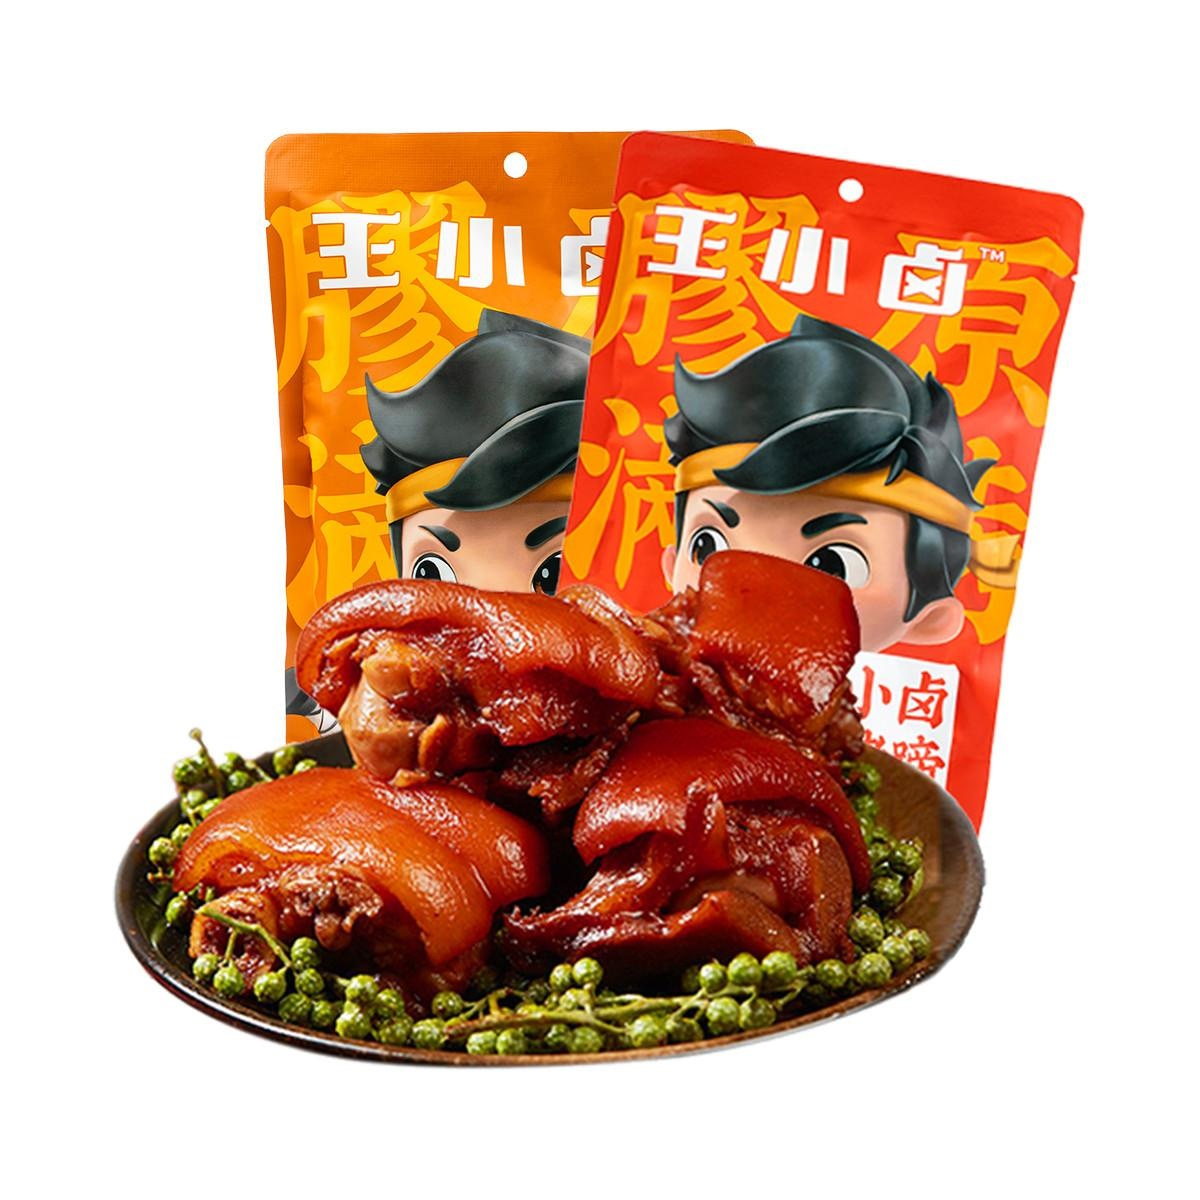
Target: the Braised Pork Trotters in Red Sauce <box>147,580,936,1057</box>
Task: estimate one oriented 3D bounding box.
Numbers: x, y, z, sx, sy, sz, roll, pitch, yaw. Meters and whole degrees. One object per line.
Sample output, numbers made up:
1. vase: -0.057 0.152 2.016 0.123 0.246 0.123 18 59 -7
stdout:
1. Braised Pork Trotters in Red Sauce: -0.100 0.548 3.139 1.596 0.506 1.398 3 11 -8
